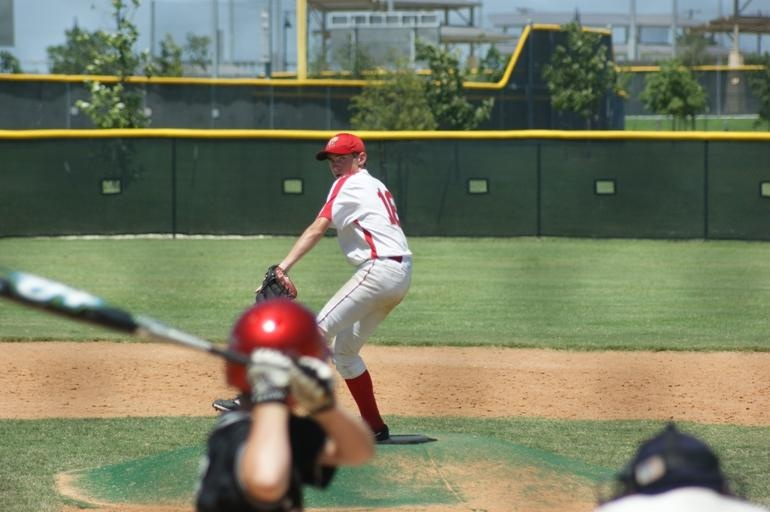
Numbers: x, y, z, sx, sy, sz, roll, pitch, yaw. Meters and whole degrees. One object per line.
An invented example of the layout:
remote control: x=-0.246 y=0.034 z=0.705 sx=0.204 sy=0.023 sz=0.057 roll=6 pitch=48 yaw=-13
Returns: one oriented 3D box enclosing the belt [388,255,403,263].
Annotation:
belt: x=0.221 y=0.054 z=27.968 sx=0.261 sy=0.130 sz=0.049 roll=1 pitch=7 yaw=0
